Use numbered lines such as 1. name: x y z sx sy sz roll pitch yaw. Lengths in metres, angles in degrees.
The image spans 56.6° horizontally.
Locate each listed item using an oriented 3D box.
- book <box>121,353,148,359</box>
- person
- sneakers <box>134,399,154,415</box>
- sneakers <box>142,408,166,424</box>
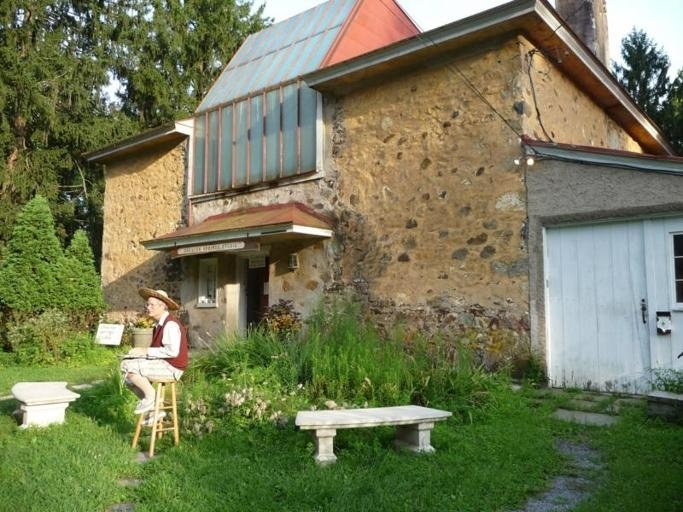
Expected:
1. book: -2.845 1.387 8.708 0.331 0.085 0.085 2 12 8
2. person: -2.643 1.365 8.928 0.916 1.622 0.695 -6 13 -28
3. sneakers: -2.729 2.089 8.782 0.254 0.234 0.251 -3 13 -15
4. sneakers: -2.633 2.251 8.794 0.385 0.189 0.145 -14 -17 41
